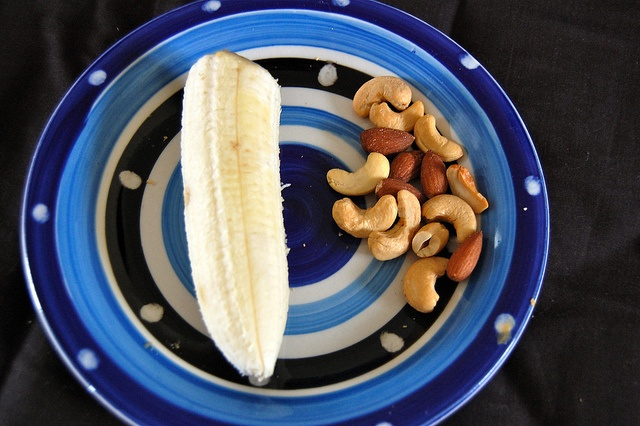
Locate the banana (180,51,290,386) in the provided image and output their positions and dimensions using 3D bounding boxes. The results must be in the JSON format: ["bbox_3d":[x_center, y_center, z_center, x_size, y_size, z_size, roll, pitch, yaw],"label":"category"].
[{"bbox_3d":[-0.177,-0.008,1.328,0.195,0.158,0.711,-6,80,3],"label":"banana"}]

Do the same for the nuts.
[{"bbox_3d":[0.186,-0.052,1.348,0.442,0.147,0.330,44,90,0],"label":"nuts"}]
